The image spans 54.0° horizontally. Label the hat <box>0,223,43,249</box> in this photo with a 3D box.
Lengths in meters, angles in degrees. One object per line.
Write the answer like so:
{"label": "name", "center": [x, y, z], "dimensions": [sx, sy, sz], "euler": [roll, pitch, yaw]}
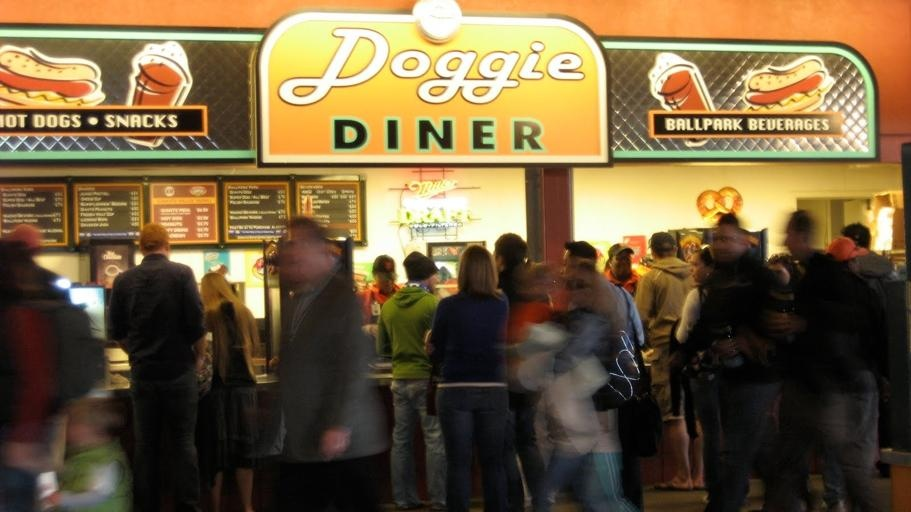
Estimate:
{"label": "hat", "center": [-3.542, -0.173, 7.359], "dimensions": [0.349, 0.091, 0.316], "euler": [0, 32, -24]}

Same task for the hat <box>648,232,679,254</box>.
{"label": "hat", "center": [2.017, -0.129, 8.671], "dimensions": [0.222, 0.234, 0.249], "euler": [3, -2, 3]}

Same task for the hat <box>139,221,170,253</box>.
{"label": "hat", "center": [-2.584, -0.171, 7.767], "dimensions": [0.263, 0.235, 0.379], "euler": [0, -3, -15]}

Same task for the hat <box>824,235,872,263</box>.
{"label": "hat", "center": [3.456, -0.071, 7.890], "dimensions": [0.286, 0.133, 0.338], "euler": [0, 2, -8]}

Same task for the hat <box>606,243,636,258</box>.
{"label": "hat", "center": [1.611, -0.068, 8.905], "dimensions": [0.213, 0.101, 0.303], "euler": [-3, -6, -15]}

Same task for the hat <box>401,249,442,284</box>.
{"label": "hat", "center": [-0.311, 0.101, 8.262], "dimensions": [0.328, 0.233, 0.242], "euler": [-4, -1, -40]}

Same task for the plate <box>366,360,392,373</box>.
{"label": "plate", "center": [-0.704, 1.052, 8.493], "dimensions": [0.167, 0.035, 0.156], "euler": [-3, 6, -25]}

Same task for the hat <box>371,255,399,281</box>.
{"label": "hat", "center": [-0.758, 0.122, 9.453], "dimensions": [0.239, 0.286, 0.300], "euler": [1, -14, -14]}

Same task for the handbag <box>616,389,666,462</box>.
{"label": "handbag", "center": [1.546, 1.430, 7.571], "dimensions": [0.333, 0.502, 0.373], "euler": [2, 1, 8]}
